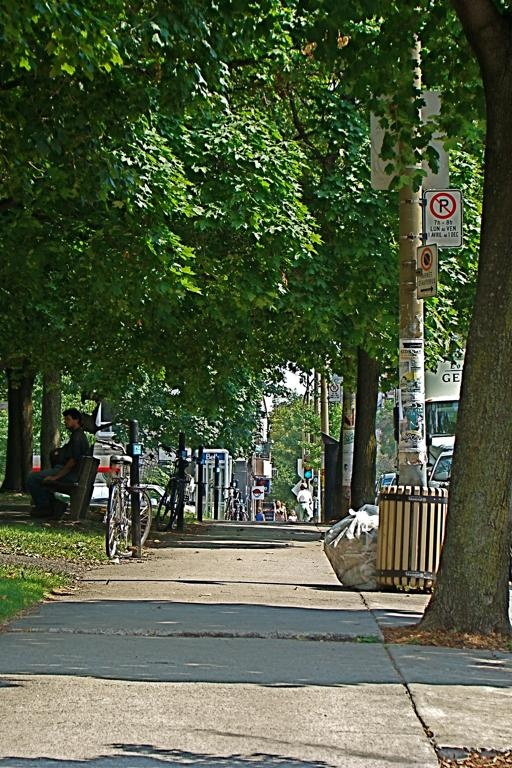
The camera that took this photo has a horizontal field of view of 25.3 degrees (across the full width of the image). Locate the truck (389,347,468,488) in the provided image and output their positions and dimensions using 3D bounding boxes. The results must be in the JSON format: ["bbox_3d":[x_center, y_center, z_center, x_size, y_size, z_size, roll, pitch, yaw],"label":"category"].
[{"bbox_3d":[3.597,0.466,23.330,1.484,3.541,1.730,4,-4,-26],"label":"truck"}]

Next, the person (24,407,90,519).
[{"bbox_3d":[-2.806,1.110,16.315,0.799,1.621,1.520,4,-6,-11],"label":"person"}]

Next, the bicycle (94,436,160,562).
[{"bbox_3d":[-1.376,1.309,12.466,0.457,1.183,1.970,4,-6,-5],"label":"bicycle"}]
